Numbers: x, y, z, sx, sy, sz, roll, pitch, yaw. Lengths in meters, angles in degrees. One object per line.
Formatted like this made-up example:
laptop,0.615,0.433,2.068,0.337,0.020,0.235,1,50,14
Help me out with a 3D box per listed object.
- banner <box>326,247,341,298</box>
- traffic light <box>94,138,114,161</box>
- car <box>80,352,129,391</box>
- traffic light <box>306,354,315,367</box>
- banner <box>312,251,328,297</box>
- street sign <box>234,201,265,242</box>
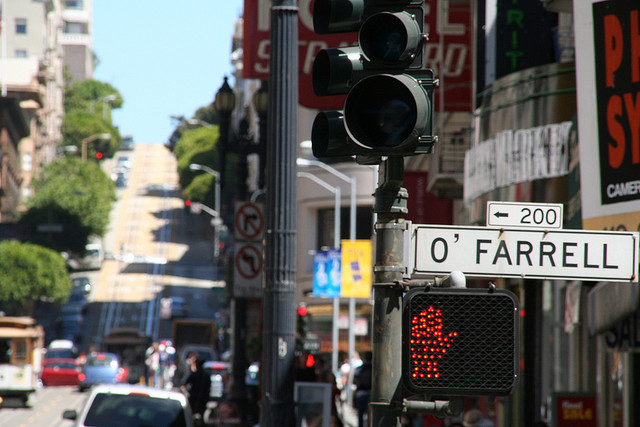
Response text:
banner,0.616,2.454,78.118,0.575,2.127,1.628,3,-15,0
traffic light,-8.475,-2.456,73.413,0.729,0.255,0.766,30,26,34
car,-9.656,7.125,82.918,1.891,1.834,3.625,0,-5,-3
traffic light,-0.294,4.925,62.481,0.206,0.450,0.324,0,-15,11
banner,0.074,2.510,78.005,0.554,1.894,1.021,3,-15,2
street sign,-2.285,0.251,61.399,0.992,1.522,0.158,1,29,-1
